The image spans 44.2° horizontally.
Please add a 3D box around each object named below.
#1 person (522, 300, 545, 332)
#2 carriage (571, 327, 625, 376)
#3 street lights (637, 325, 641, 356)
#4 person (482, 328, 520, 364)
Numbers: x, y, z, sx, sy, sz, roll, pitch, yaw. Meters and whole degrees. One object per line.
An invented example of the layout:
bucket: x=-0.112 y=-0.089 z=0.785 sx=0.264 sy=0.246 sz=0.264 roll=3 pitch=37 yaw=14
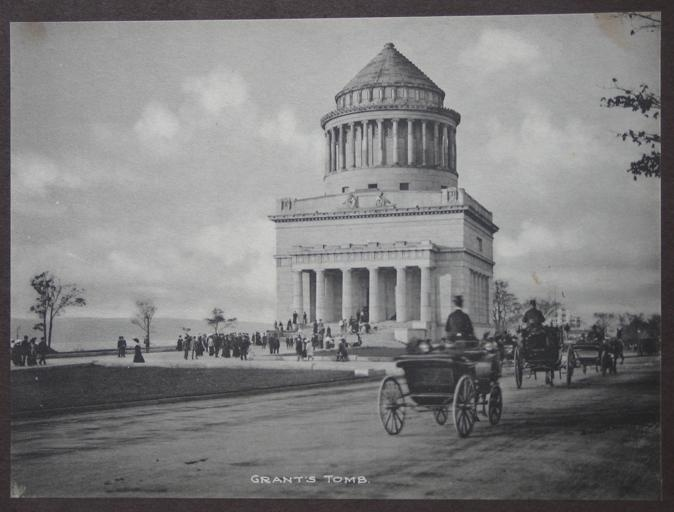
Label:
person: x=5.581 y=1.672 z=23.589 sx=0.503 sy=0.855 sz=0.623 roll=-9 pitch=10 yaw=-38
carriage: x=7.453 y=3.038 z=24.818 sx=0.919 sy=0.833 sz=1.479 roll=1 pitch=-22 yaw=4
street lights: x=8.792 y=2.440 z=24.099 sx=0.137 sy=0.762 sz=0.630 roll=0 pitch=8 yaw=18
person: x=4.487 y=2.454 z=22.862 sx=0.836 sy=0.696 sz=1.390 roll=-2 pitch=-16 yaw=14
